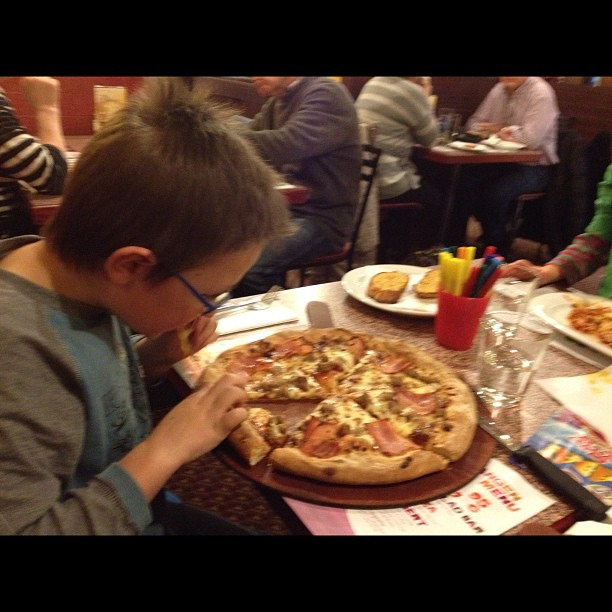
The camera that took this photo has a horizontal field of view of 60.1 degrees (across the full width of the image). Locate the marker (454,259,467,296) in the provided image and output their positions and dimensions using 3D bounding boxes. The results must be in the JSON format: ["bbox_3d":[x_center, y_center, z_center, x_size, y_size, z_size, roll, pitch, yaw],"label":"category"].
[{"bbox_3d":[0.287,-0.053,0.979,0.022,0.071,0.019,6,37,3],"label":"marker"}]

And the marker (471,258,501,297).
[{"bbox_3d":[0.330,-0.054,0.972,0.019,0.075,0.012,19,38,-28],"label":"marker"}]

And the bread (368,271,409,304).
[{"bbox_3d":[0.194,-0.048,1.244,0.063,0.021,0.098,4,25,10],"label":"bread"}]

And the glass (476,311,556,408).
[{"bbox_3d":[0.366,0.097,0.926,0.121,0.129,0.104,-24,37,-38],"label":"glass"}]

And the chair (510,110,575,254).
[{"bbox_3d":[0.587,-0.306,1.301,0.142,0.326,0.132,-15,45,-11],"label":"chair"}]

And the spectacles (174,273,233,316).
[{"bbox_3d":[-0.158,-0.017,0.844,0.065,0.018,0.064,40,1,-2],"label":"spectacles"}]

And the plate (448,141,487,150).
[{"bbox_3d":[0.387,-0.382,1.261,0.073,0.013,0.103,-1,12,-19],"label":"plate"}]

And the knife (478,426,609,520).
[{"bbox_3d":[0.333,0.222,0.747,0.035,0.014,0.188,-20,29,-16],"label":"knife"}]

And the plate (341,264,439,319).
[{"bbox_3d":[0.190,-0.033,1.219,0.163,0.020,0.162,-19,31,-41],"label":"plate"}]

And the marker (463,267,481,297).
[{"bbox_3d":[0.309,-0.046,0.981,0.019,0.056,0.012,26,14,10],"label":"marker"}]

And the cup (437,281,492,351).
[{"bbox_3d":[0.315,0.031,1.055,0.115,0.103,0.112,4,-4,0],"label":"cup"}]

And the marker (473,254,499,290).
[{"bbox_3d":[0.332,-0.066,0.970,0.022,0.073,0.030,18,39,18],"label":"marker"}]

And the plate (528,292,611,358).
[{"bbox_3d":[0.548,0.053,1.122,0.141,0.020,0.162,-9,31,-26],"label":"plate"}]

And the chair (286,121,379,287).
[{"bbox_3d":[0.088,-0.327,1.611,0.345,0.472,0.254,-10,48,-19],"label":"chair"}]

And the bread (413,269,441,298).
[{"bbox_3d":[0.292,-0.054,1.247,0.047,0.014,0.086,12,32,27],"label":"bread"}]
